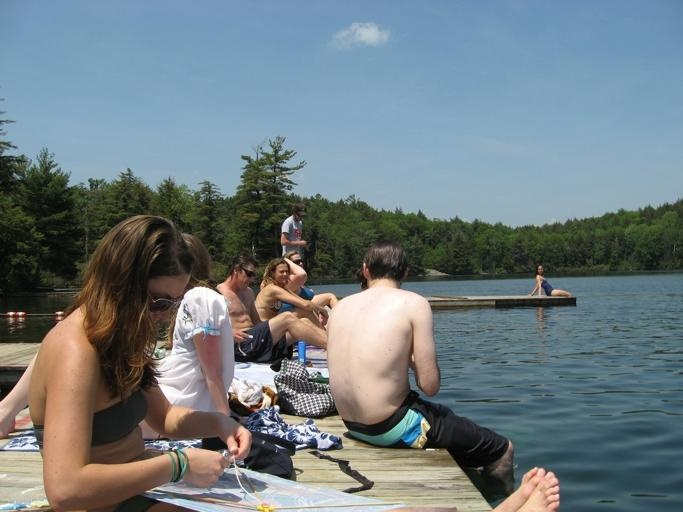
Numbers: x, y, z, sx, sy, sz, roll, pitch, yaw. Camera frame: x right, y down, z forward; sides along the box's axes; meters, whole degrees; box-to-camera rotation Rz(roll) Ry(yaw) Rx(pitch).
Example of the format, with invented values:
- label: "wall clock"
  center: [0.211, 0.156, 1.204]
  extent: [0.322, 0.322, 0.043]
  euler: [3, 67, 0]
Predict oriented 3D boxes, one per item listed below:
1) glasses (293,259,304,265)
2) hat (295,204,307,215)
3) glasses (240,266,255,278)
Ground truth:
- label: "glasses"
  center: [-0.752, 0.088, 12.452]
  extent: [0.108, 0.063, 0.081]
  euler: [-15, -12, 39]
- label: "hat"
  center: [-0.794, -0.949, 14.375]
  extent: [0.192, 0.227, 0.235]
  euler: [-1, 2, -17]
- label: "glasses"
  center: [-1.206, 0.213, 9.412]
  extent: [0.132, 0.041, 0.130]
  euler: [31, 11, 37]
